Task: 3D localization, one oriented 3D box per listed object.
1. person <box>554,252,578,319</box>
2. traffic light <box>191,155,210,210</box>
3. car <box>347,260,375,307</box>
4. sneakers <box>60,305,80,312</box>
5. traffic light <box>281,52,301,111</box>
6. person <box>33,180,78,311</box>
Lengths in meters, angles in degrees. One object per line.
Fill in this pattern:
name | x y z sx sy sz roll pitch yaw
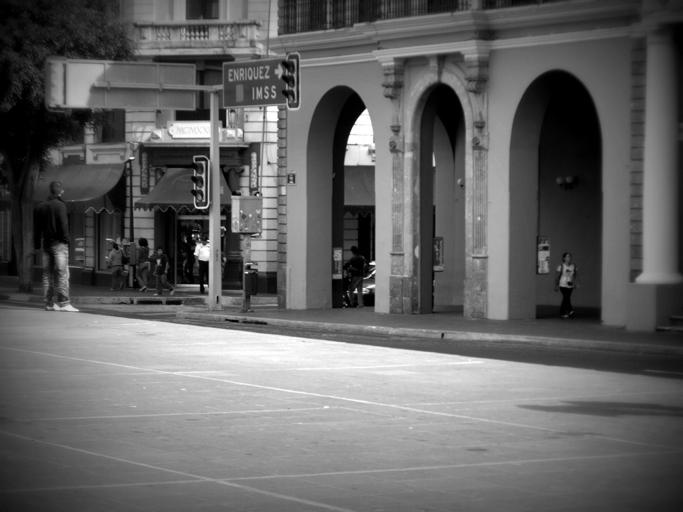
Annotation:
person | 5.771 0.737 27.086 0.503 1.626 0.601 1 1 13
traffic light | -3.766 -1.922 27.890 0.476 1.329 0.422 1 7 4
car | 0.569 0.874 32.811 1.252 1.088 2.836 -1 2 5
sneakers | -6.252 1.185 24.205 0.455 0.211 0.227 2 0 -10
traffic light | -1.230 -4.115 25.114 0.420 1.298 1.220 1 1 -4
person | -6.457 -0.214 23.796 0.764 2.894 1.516 1 1 -15
